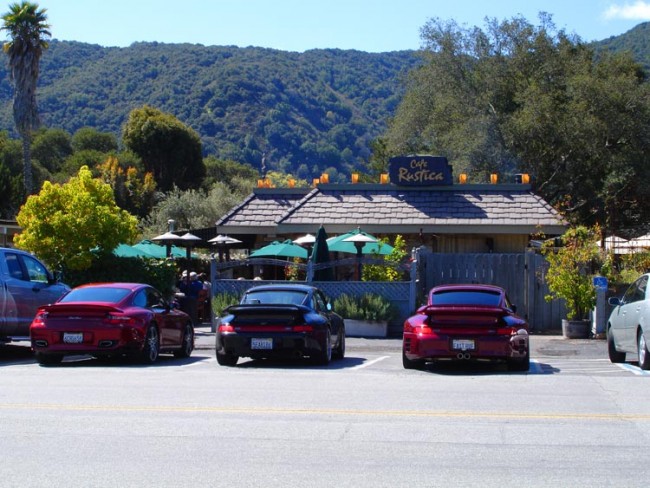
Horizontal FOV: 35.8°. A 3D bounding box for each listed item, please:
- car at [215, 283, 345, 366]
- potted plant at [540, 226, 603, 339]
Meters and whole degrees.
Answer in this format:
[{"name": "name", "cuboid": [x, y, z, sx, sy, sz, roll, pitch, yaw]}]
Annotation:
[{"name": "car", "cuboid": [-1.029, 2.091, 23.322, 2.932, 1.960, 1.879, -2, 10, -14]}, {"name": "potted plant", "cuboid": [7.399, 1.085, 30.070, 1.705, 3.069, 2.153, 3, 10, 14]}]
